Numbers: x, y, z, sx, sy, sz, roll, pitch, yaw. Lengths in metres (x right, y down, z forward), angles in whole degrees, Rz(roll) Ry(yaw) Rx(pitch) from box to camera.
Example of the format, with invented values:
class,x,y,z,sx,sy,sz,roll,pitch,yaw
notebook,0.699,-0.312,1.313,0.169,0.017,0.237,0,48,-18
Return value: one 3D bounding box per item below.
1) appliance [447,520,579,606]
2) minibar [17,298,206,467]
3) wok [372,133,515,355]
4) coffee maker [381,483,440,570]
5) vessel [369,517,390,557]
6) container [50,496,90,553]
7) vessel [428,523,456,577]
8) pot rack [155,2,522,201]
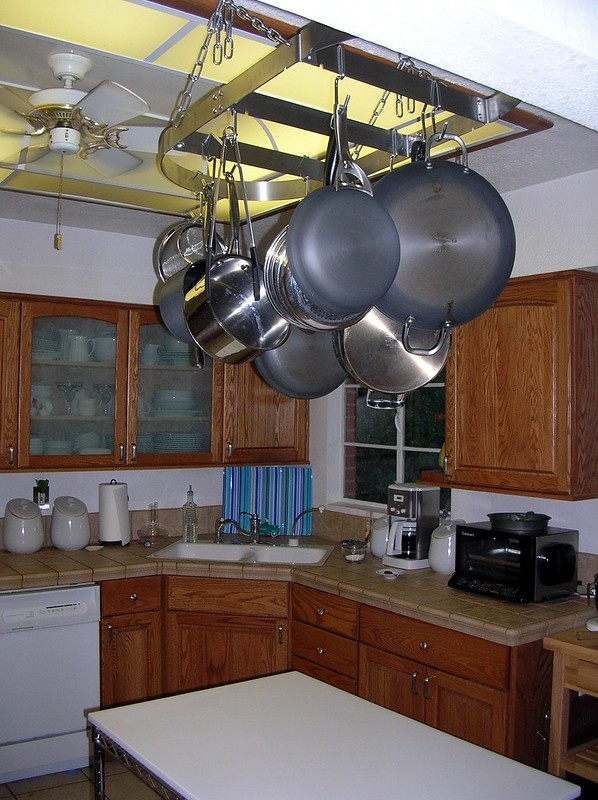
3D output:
class,x,y,z,sx,sy,sz,roll,pitch,yaw
appliance,0.875,0.661,2.696,0.339,0.259,0.424,3,-4,-37
minibar,-1.017,-0.088,3.350,0.980,0.800,0.339,1,-5,-30
wok,0.239,-0.256,1.078,0.282,0.368,0.048,1,12,-8
coffee maker,0.543,0.608,3.171,0.203,0.373,0.227,6,-7,-31
vessel,0.405,0.695,3.370,0.142,0.185,0.189,5,12,10
container,-1.220,0.659,3.468,0.214,0.272,0.271,3,-7,-24
vessel,0.643,0.676,2.932,0.157,0.196,0.211,-1,-7,16
pot rack,-0.006,-0.518,1.291,0.480,0.129,0.644,5,-12,-34
